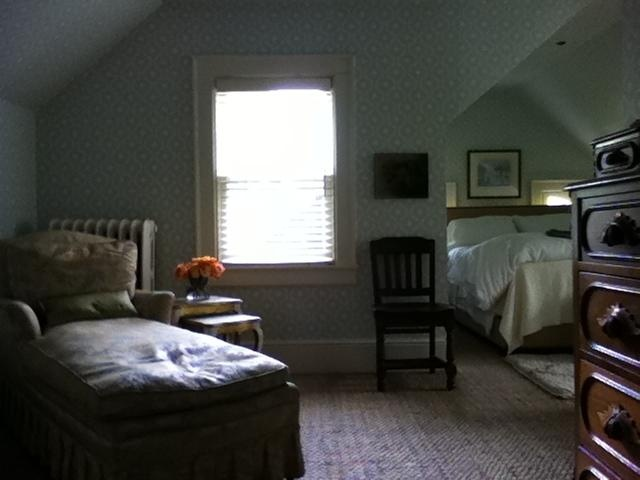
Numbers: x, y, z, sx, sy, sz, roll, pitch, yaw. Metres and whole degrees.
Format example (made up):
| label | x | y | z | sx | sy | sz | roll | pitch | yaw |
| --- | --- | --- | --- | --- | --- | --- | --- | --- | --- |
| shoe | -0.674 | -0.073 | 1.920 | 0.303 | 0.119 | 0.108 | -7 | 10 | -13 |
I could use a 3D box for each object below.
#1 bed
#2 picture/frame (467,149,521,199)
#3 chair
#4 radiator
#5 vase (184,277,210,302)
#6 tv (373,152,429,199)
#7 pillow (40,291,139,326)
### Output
| label | x | y | z | sx | sy | sz | roll | pitch | yaw |
| --- | --- | --- | --- | --- | --- | --- | --- | --- | --- |
| bed | 1.775 | 0.417 | 5.183 | 1.489 | 1.001 | 1.447 | -1 | 3 | -10 |
| picture/frame | 2.320 | -0.882 | 7.086 | 0.668 | 0.642 | 0.031 | 0 | -6 | 9 |
| chair | 0.720 | 0.555 | 4.130 | 0.670 | 1.100 | 0.643 | 0 | 9 | 5 |
| radiator | -1.527 | -0.010 | 4.125 | 0.615 | 0.651 | 0.162 | 13 | 2 | -24 |
| vase | -0.898 | 0.370 | 3.940 | 0.152 | 0.175 | 0.164 | -1 | -2 | 8 |
| tv | 0.652 | -0.521 | 4.311 | 0.438 | 0.360 | 0.102 | -3 | 9 | -12 |
| pillow | -1.448 | 0.429 | 3.314 | 0.352 | 0.214 | 0.093 | -6 | -36 | -36 |
